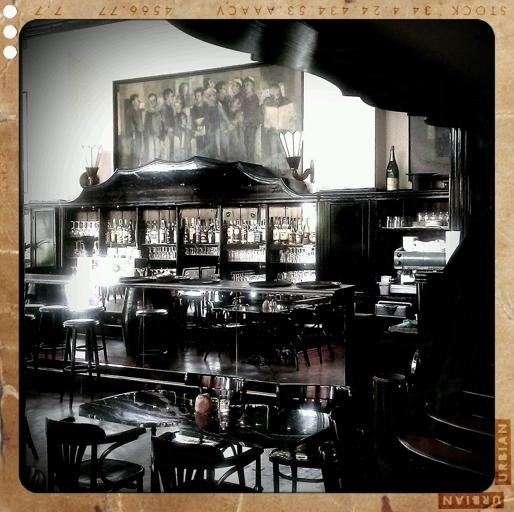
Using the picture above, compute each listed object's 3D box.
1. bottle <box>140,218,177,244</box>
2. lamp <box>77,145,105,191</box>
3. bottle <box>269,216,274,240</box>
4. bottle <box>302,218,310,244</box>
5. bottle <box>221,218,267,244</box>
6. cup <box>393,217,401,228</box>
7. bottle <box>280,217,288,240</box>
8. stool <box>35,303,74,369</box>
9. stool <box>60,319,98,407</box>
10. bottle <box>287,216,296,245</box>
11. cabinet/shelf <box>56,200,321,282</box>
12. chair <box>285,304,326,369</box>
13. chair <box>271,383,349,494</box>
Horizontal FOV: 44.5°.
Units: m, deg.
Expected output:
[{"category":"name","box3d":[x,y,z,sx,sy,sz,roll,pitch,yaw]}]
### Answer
[{"category":"bottle","box3d":[-1.344,-0.340,8.652,0.292,0.335,0.103,0,-1,23]},{"category":"lamp","box3d":[-2.360,-1.262,8.912,0.322,0.661,0.458,0,-1,-11]},{"category":"bottle","box3d":[0.188,-0.338,7.807,0.071,0.301,0.211,-1,-1,1]},{"category":"bottle","box3d":[0.596,-0.297,7.584,0.093,0.327,0.151,-1,-1,4]},{"category":"bottle","box3d":[-0.160,-0.310,8.002,0.590,0.324,0.305,-1,-1,13]},{"category":"cup","box3d":[1.544,-0.368,6.894,0.095,0.154,0.097,0,-2,0]},{"category":"bottle","box3d":[0.338,-0.335,7.773,0.118,0.323,0.149,-1,-1,5]},{"category":"stool","box3d":[-2.093,0.877,6.808,0.321,0.608,0.305,-6,0,-33]},{"category":"stool","box3d":[-1.619,0.971,5.731,0.296,0.761,0.317,4,-11,-17]},{"category":"bottle","box3d":[0.433,-0.327,7.703,0.095,0.336,0.222,-1,-1,4]},{"category":"cabinet/shelf","box3d":[-0.975,-0.212,8.198,3.871,1.054,0.789,-1,-1,26]},{"category":"chair","box3d":[0.465,0.766,5.820,0.326,0.664,0.383,-4,10,-5]},{"category":"chair","box3d":[0.257,0.966,3.087,0.460,0.526,0.510,1,-3,0]}]
